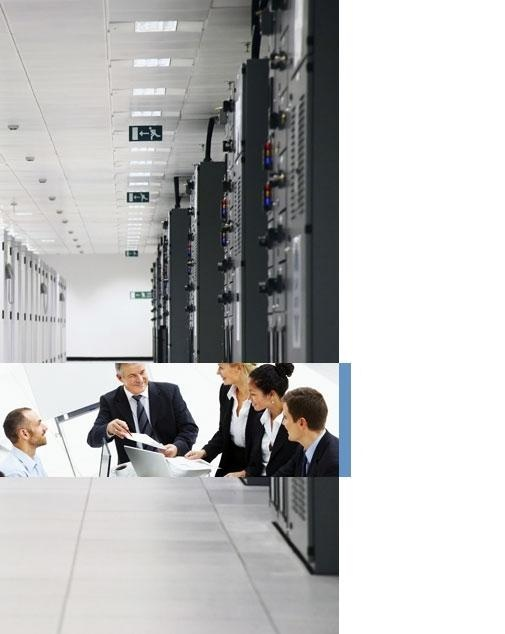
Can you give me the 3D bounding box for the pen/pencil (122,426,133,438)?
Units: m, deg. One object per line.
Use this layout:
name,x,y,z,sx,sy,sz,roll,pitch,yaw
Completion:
pen/pencil,-0.410,0.381,2.243,0.026,0.040,0.011,0,-3,-12

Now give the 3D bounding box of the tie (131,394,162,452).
tie,-0.352,0.351,2.262,0.093,0.179,0.036,-8,9,1
